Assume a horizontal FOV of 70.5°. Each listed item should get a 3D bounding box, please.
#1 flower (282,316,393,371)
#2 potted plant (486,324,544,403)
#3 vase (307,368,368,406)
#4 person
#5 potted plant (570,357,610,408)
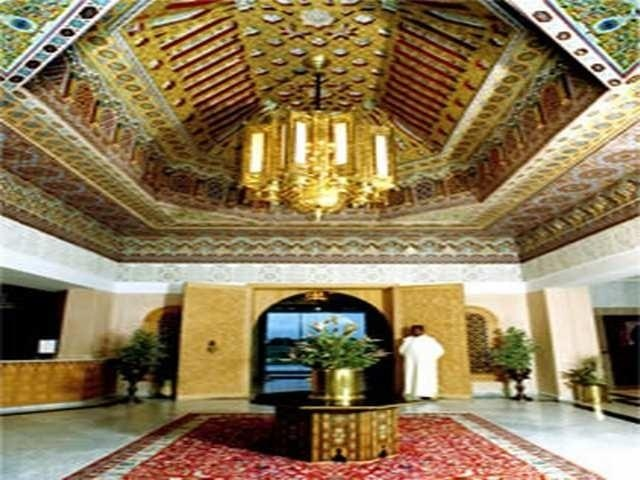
[{"bbox_3d":[0.165,1.281,5.617,1.221,0.344,0.987,0,13,-28],"label":"flower"},{"bbox_3d":[4.369,2.770,10.330,1.014,1.578,1.047,-4,-20,14],"label":"potted plant"},{"bbox_3d":[0.117,1.810,5.683,0.854,0.282,0.620,4,-19,-13],"label":"vase"},{"bbox_3d":[2.179,2.645,9.894,0.510,1.579,0.847,19,-26,-35],"label":"person"},{"bbox_3d":[5.384,2.834,9.166,0.697,0.878,0.513,-8,-23,25],"label":"potted plant"}]
